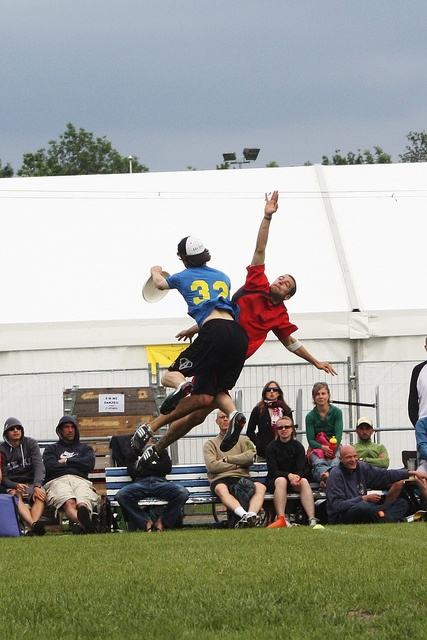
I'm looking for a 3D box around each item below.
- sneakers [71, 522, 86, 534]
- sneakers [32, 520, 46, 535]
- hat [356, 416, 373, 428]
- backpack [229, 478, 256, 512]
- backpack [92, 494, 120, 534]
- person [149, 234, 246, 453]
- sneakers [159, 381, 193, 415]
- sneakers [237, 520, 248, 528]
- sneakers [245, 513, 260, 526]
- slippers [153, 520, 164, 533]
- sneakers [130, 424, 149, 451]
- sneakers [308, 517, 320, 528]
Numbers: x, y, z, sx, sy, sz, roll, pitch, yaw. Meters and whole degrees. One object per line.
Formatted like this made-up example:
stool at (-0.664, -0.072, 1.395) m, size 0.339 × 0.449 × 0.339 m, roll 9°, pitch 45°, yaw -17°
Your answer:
sneakers at (-1.239, 1.914, 12.422) m, size 0.091 × 0.075 × 0.193 m, roll -8°, pitch 7°, yaw -42°
sneakers at (-1.572, 1.884, 12.253) m, size 0.116 × 0.135 × 0.191 m, roll -4°, pitch 5°, yaw -8°
hat at (1.628, 1.097, 14.656) m, size 0.227 × 0.133 × 0.366 m, roll 1°, pitch -11°, yaw 7°
backpack at (0.281, 1.620, 12.553) m, size 0.205 × 0.255 × 0.108 m, roll -9°, pitch -21°, yaw -22°
backpack at (-1.024, 1.877, 13.036) m, size 0.310 × 0.416 × 0.327 m, roll 0°, pitch -3°, yaw -18°
person at (-0.103, 0.187, 11.280) m, size 0.772 × 1.790 × 0.704 m, roll -2°, pitch 6°, yaw 10°
sneakers at (-0.270, 0.640, 10.920) m, size 0.377 × 0.138 × 0.162 m, roll -45°, pitch 14°, yaw 3°
sneakers at (0.266, 1.823, 12.079) m, size 0.042 × 0.053 × 0.125 m, roll 3°, pitch -23°, yaw -8°
sneakers at (0.365, 1.796, 12.178) m, size 0.071 × 0.141 × 0.242 m, roll -1°, pitch 6°, yaw 22°
slippers at (-0.493, 1.893, 12.461) m, size 0.086 × 0.078 × 0.194 m, roll -3°, pitch 5°, yaw -2°
sneakers at (-0.596, 0.983, 11.451) m, size 0.119 × 0.275 × 0.100 m, roll 24°, pitch 8°, yaw 18°
sneakers at (0.909, 1.840, 12.281) m, size 0.062 × 0.077 × 0.182 m, roll 2°, pitch -7°, yaw -11°
